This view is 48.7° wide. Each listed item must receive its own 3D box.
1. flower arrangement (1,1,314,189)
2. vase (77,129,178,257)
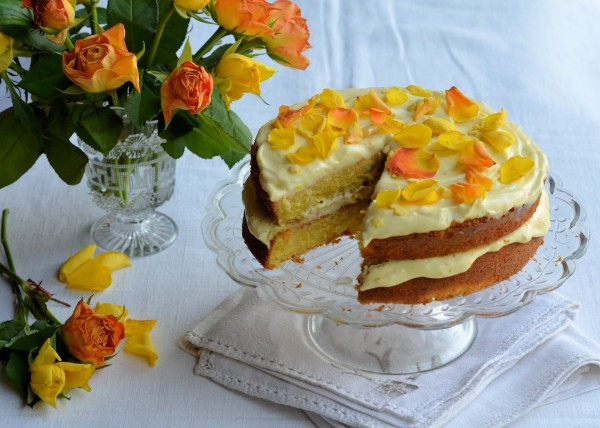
[{"bbox_3d":[-0.574,-0.474,2.396,0.815,0.549,0.760,-5,5,-11],"label":"flower arrangement"},{"bbox_3d":[-0.683,-0.130,2.735,0.326,0.513,0.322,-8,23,-20],"label":"vase"}]
